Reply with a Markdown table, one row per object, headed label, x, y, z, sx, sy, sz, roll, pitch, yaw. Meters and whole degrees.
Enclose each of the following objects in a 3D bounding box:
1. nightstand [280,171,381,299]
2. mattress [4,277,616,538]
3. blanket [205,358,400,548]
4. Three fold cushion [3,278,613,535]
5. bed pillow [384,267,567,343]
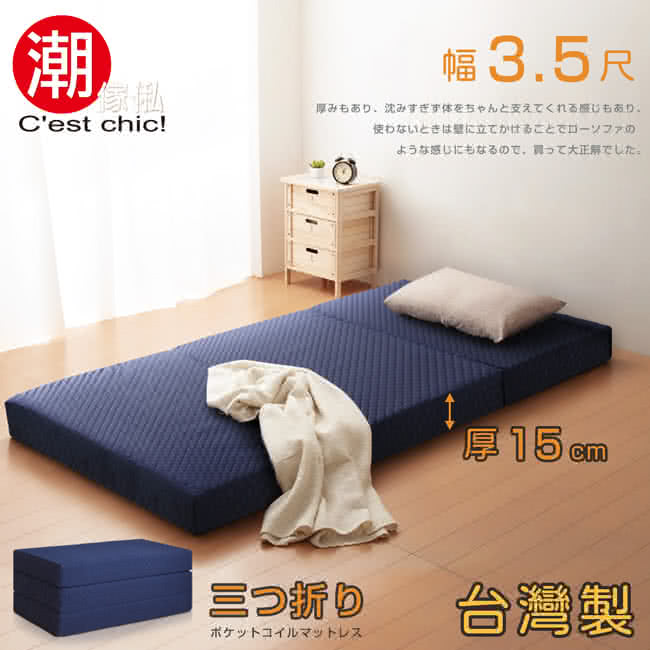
| label | x | y | z | sx | sy | sz | roll | pitch | yaw |
| --- | --- | --- | --- | --- | --- | --- | --- | --- | --- |
| nightstand | 0.042 | -0.685 | 4.732 | 0.628 | 0.707 | 0.528 | 18 | 25 | 41 |
| mattress | 0.022 | 0.241 | 2.773 | 1.980 | 0.176 | 1.057 | -13 | 19 | -38 |
| blanket | -0.108 | 0.391 | 2.297 | 0.556 | 0.152 | 0.919 | -6 | 32 | -23 |
| Three fold cushion | 0.058 | 0.243 | 2.783 | 1.987 | 0.181 | 1.056 | -13 | 19 | -38 |
| bed pillow | 0.764 | -0.039 | 3.389 | 0.808 | 0.193 | 0.588 | -24 | 47 | -30 |
